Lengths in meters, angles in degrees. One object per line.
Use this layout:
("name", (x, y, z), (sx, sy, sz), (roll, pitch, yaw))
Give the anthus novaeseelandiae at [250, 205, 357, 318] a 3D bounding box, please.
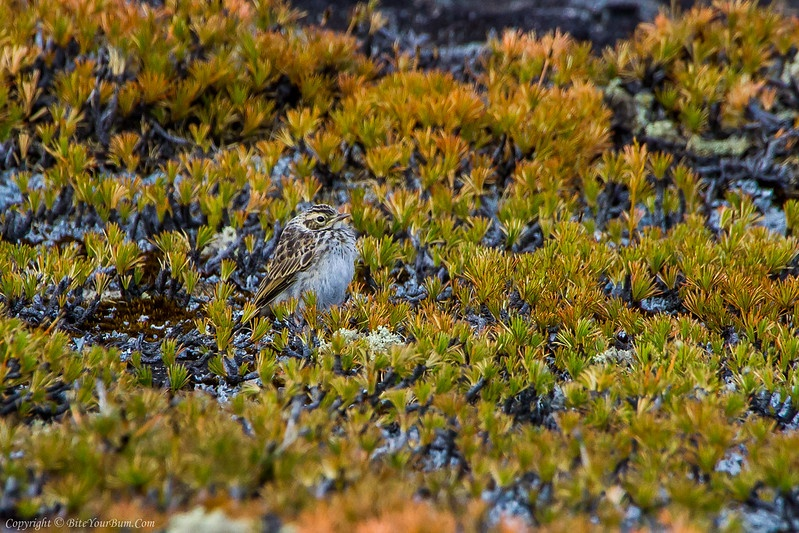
("anthus novaeseelandiae", (-0.633, -0.054, 7.197), (0.624, 0.488, 0.837), (16, 61, 1))
